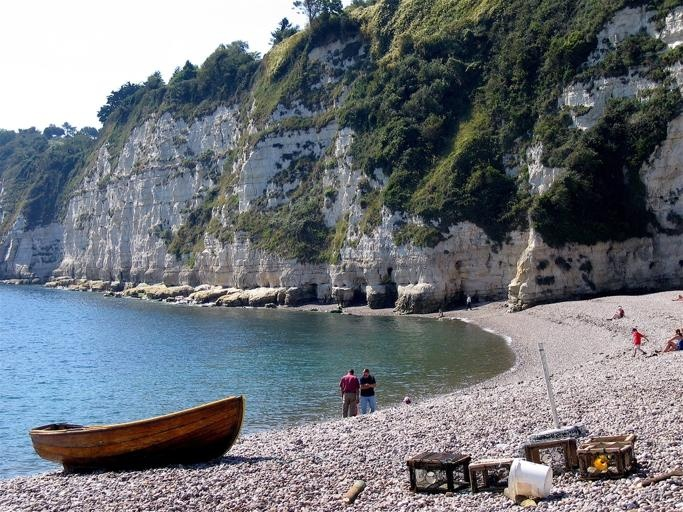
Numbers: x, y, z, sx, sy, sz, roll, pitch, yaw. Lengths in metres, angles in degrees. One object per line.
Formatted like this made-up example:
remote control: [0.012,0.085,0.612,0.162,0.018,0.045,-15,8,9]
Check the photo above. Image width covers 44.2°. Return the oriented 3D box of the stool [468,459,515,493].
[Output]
stool: [7.168,10.615,41.649,1.511,1.204,1.776,-9,-13,-2]
